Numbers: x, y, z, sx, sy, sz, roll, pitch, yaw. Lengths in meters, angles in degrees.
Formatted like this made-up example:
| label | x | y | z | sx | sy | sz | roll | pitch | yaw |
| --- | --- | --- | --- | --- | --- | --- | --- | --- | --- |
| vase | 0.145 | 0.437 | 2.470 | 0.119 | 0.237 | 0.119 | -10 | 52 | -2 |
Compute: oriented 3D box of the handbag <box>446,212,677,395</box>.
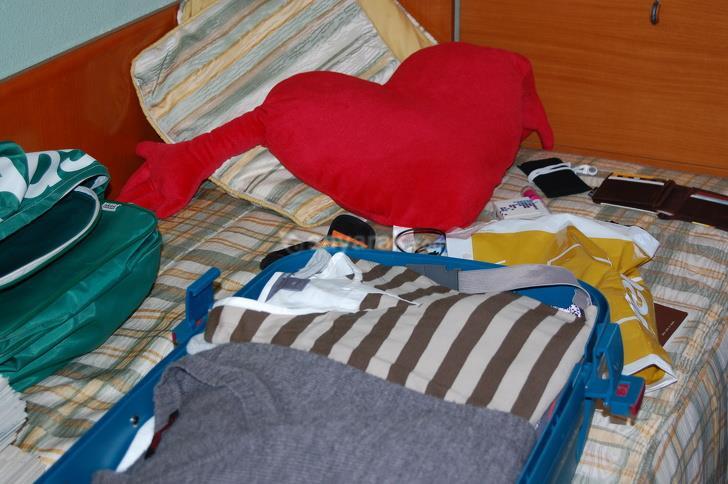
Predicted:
| label | x | y | z | sx | sy | sz | roll | pitch | yaw |
| --- | --- | --- | --- | --- | --- | --- | --- | --- | --- |
| handbag | 0.463 | 0.156 | 1.290 | 0.389 | 0.393 | 0.121 | 31 | -42 | 33 |
